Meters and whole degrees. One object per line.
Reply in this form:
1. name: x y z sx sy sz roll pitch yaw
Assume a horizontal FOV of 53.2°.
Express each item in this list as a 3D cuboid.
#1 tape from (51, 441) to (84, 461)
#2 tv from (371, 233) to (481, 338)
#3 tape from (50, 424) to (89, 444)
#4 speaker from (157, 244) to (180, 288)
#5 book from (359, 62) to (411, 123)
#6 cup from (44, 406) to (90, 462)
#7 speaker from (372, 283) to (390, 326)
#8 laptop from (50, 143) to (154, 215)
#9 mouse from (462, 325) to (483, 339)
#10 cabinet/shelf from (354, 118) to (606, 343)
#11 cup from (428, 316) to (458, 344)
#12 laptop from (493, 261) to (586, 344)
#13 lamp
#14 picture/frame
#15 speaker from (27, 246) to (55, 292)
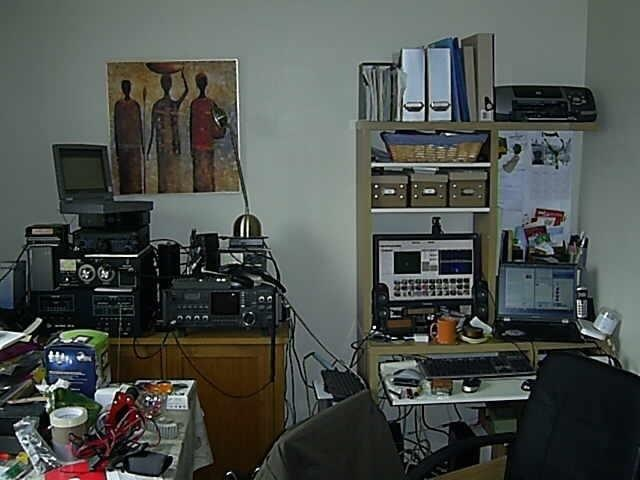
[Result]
1. tape: -1.045 0.867 2.628 0.083 0.059 0.082 2 5 -3
2. tv: 0.606 0.258 3.711 0.600 0.580 0.229 0 1 -3
3. tape: -1.031 0.776 2.651 0.090 0.065 0.091 1 1 21
4. speaker: -0.871 0.158 3.709 0.142 0.251 0.236 -4 8 -15
5. book: 0.352 -0.815 3.641 0.245 0.328 0.113 0 12 1
6. cup: -1.017 0.794 2.690 0.191 0.211 0.188 1 -1 0
7. speaker: 0.356 0.375 3.648 0.126 0.213 0.063 2 1 1
8. laptop: -1.206 -0.326 3.653 0.431 0.469 0.520 0 4 3
9. mouse: 0.859 0.507 3.592 0.073 0.036 0.075 8 6 43
10. cabinet/shelf: 0.947 -0.054 3.763 1.384 1.257 0.399 0 8 -4
11. cup: 0.709 0.512 3.645 0.172 0.130 0.112 -6 -6 39
12. laptop: 1.235 0.325 3.708 0.542 0.476 0.410 1 0 8
13. lamp: -0.476 -0.394 3.772 0.277 0.801 0.543 -3 7 -9
14. picture/frame: -0.933 -0.719 3.955 0.855 0.873 0.058 -2 1 4
15. speaker: -1.547 0.161 3.548 0.147 0.254 0.039 -2 7 -1
